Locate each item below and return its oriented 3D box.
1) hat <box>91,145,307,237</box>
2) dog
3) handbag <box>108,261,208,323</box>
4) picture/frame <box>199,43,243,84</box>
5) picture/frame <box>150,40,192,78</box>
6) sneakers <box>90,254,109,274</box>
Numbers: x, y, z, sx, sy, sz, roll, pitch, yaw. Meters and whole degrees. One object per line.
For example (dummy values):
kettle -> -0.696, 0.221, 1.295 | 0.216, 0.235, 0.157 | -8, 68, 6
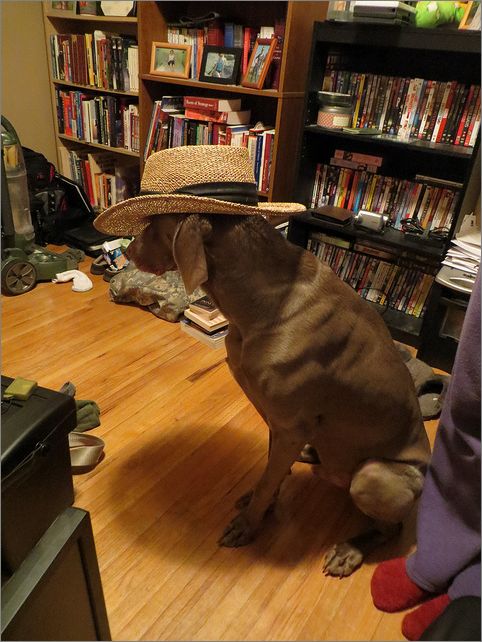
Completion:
hat -> -0.119, -0.271, 0.934 | 0.294, 0.095, 0.242 | -2, 10, 12
dog -> 0.114, 0.150, 1.235 | 0.854, 0.949, 0.499 | 0, 28, 6
handbag -> -0.478, -0.177, 2.536 | 0.429, 0.120, 0.358 | 26, 41, 22
picture/frame -> -0.102, -1.426, 2.602 | 0.250, 0.269, 0.029 | 18, 14, 20
picture/frame -> -0.408, -1.553, 2.777 | 0.263, 0.180, 0.020 | 25, 28, 24
sneakers -> -0.872, -0.347, 2.903 | 0.067, 0.069, 0.173 | 1, 24, 1
